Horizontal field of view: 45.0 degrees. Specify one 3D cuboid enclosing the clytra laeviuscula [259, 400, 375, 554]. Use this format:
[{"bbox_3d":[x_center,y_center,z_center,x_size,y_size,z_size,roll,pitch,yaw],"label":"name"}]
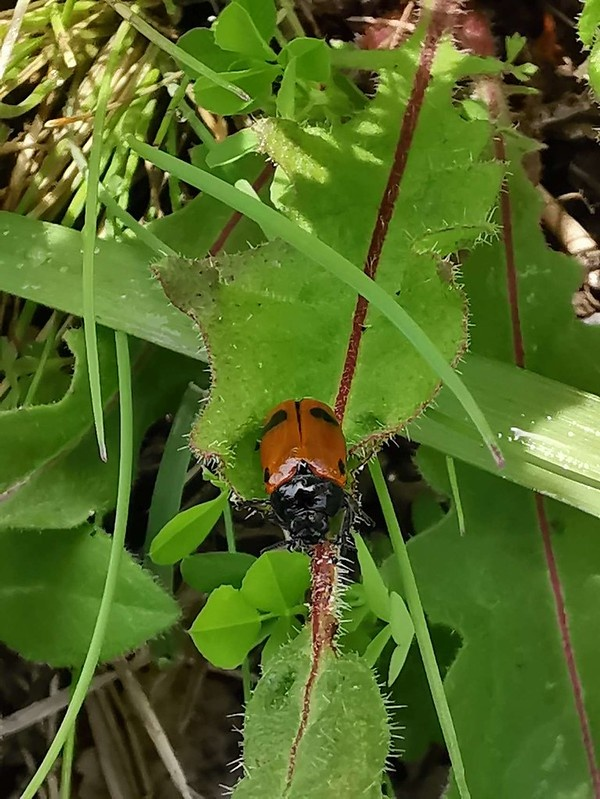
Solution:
[{"bbox_3d":[0.012,0.066,0.756,0.124,0.152,0.056,-1,32,10],"label":"clytra laeviuscula"}]
